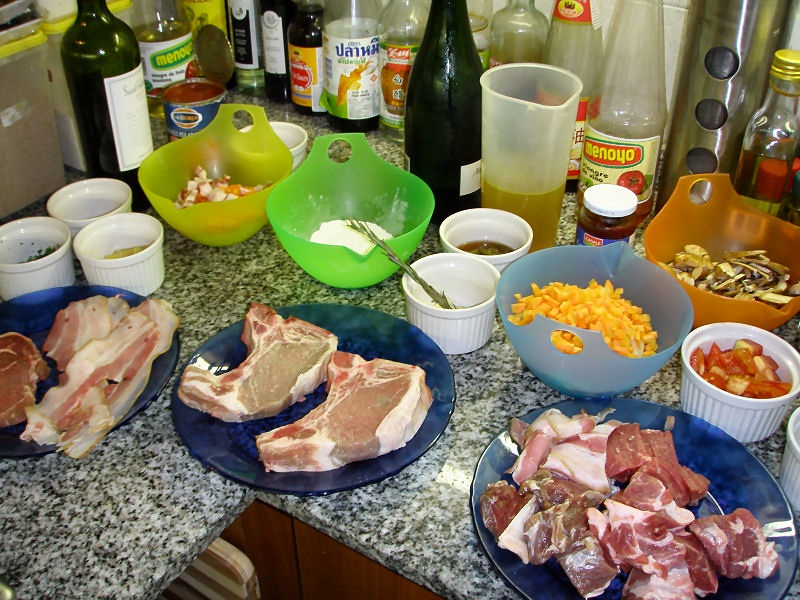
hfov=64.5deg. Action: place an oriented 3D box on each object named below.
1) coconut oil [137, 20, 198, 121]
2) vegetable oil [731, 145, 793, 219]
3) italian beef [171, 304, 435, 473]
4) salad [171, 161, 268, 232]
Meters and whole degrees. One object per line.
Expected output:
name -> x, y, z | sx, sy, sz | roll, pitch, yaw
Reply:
coconut oil -> -0.539, -0.531, 1.535 | 0.092, 0.250, 0.113 | -29, 43, -34
vegetable oil -> 0.639, -0.208, 1.122 | 0.076, 0.117, 0.054 | 25, 37, 38
italian beef -> -0.138, 0.143, 0.924 | 0.336, 0.064, 0.232 | 21, 45, 23
salad -> -0.356, -0.216, 1.246 | 0.159, 0.050, 0.138 | 6, 41, 8
